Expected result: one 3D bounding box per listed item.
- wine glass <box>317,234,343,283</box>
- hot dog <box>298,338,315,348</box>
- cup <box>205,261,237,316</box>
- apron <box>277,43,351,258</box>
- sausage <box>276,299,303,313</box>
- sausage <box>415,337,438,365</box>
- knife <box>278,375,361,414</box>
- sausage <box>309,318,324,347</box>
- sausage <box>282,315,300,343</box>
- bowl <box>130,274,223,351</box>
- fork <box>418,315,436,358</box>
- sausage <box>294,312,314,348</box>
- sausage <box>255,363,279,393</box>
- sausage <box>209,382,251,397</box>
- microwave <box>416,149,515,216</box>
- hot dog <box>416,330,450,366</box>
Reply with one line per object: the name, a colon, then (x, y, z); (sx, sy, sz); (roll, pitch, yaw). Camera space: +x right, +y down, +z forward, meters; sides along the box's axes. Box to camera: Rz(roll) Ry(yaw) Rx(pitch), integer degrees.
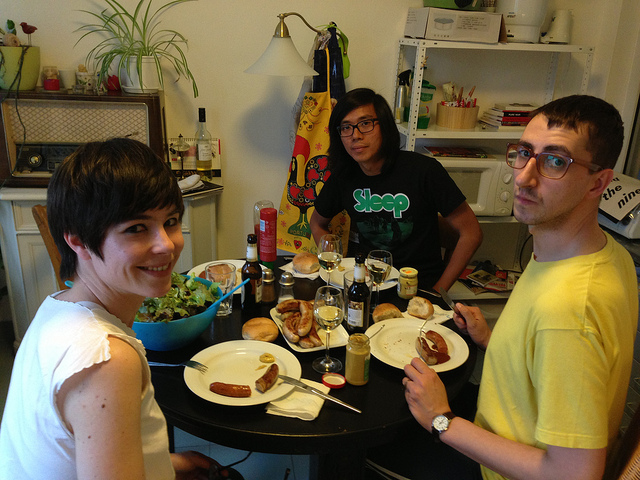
wine glass: (0.038, 0.124, 2.082); (0.105, 0.281, 0.102); (-1, 16, -4)
hot dog: (-0.048, 0.357, 1.667); (0.042, 0.015, 0.025); (4, 28, -38)
cup: (-0.375, 0.187, 1.792); (0.092, 0.154, 0.095); (4, 36, -3)
apron: (-0.107, -0.532, 2.987); (0.330, 1.305, 0.178); (0, 15, -3)
sausage: (-0.118, 0.245, 1.791); (0.118, 0.033, 0.037); (-8, 64, -32)
sausage: (0.374, 0.384, 1.684); (0.029, 0.036, 0.115); (6, 24, -13)
knife: (-0.005, 0.470, 1.482); (0.306, 0.017, 0.032); (16, 5, 28)
sausage: (-0.020, 0.336, 1.701); (0.056, 0.036, 0.124); (22, 38, -25)
sausage: (-0.104, 0.315, 1.695); (0.054, 0.035, 0.127); (-4, 30, -2)
bowl: (-0.480, 0.246, 1.688); (0.232, 0.119, 0.254); (3, 20, -1)
fork: (0.397, 0.337, 1.746); (0.034, 0.047, 0.320); (-14, 21, 23)
sausage: (-0.060, 0.315, 1.700); (0.052, 0.115, 0.030); (-16, -17, -18)
sausage: (-0.161, 0.430, 1.510); (0.050, 0.039, 0.100); (8, 31, 24)
sausage: (-0.279, 0.444, 1.455); (0.094, 0.032, 0.051); (3, 11, -2)
microwave: (0.979, -0.362, 3.157); (0.480, 0.402, 0.384); (3, 22, -1)
hot dog: (0.400, 0.368, 1.707); (0.086, 0.049, 0.176); (5, 14, -3)
